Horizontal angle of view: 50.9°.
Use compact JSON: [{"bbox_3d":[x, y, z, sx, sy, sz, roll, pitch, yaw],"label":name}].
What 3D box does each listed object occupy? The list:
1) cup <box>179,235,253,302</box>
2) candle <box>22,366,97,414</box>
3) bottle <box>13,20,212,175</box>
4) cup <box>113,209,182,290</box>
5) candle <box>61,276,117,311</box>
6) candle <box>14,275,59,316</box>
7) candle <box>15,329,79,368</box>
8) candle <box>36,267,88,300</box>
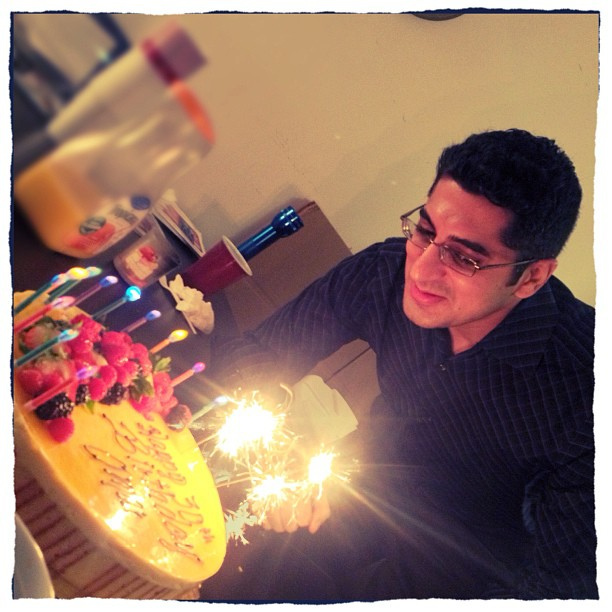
[{"bbox_3d":[-0.415,-0.160,2.919,0.303,0.204,0.206,-31,-9,5],"label":"cup"},{"bbox_3d":[-0.780,0.252,2.026,0.234,0.087,0.158,-25,18,-7],"label":"candle"},{"bbox_3d":[-0.791,-0.816,2.513,0.878,0.197,0.240,-36,15,-14],"label":"bottle"},{"bbox_3d":[-0.678,-0.224,2.723,0.241,0.250,0.318,-34,49,13],"label":"cup"},{"bbox_3d":[-0.775,-0.042,2.272,0.193,0.032,0.031,-25,39,31],"label":"candle"},{"bbox_3d":[-0.902,-0.030,2.136,0.192,0.031,0.032,-41,9,13],"label":"candle"},{"bbox_3d":[-0.794,0.123,1.939,0.130,0.116,0.177,20,28,39],"label":"candle"},{"bbox_3d":[-0.826,-0.076,2.146,0.165,0.049,0.051,-31,30,-5],"label":"candle"}]
